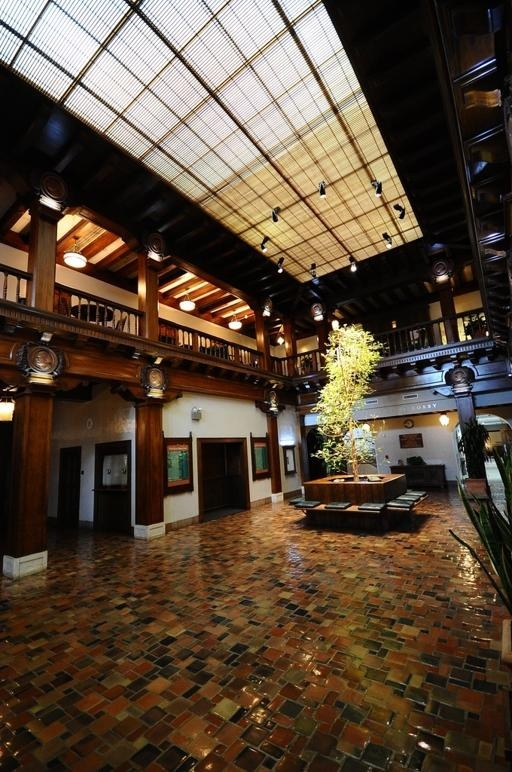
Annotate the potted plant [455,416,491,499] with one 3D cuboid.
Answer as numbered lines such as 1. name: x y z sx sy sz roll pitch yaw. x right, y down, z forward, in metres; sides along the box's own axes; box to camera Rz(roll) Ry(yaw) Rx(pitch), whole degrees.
1. potted plant: 3.902 1.307 8.157 0.487 1.361 1.338 -6 -6 23

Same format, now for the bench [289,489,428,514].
1. bench: 1.556 1.835 6.727 1.874 0.278 1.302 -5 -5 13

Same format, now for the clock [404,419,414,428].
1. clock: 4.153 1.056 12.420 0.069 0.287 0.270 2 -8 -44

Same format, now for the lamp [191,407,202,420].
1. lamp: -1.081 0.547 8.519 0.114 0.268 0.314 -5 -6 17

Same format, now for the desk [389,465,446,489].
1. desk: 4.071 2.306 11.403 1.259 0.601 0.763 -6 -6 29
